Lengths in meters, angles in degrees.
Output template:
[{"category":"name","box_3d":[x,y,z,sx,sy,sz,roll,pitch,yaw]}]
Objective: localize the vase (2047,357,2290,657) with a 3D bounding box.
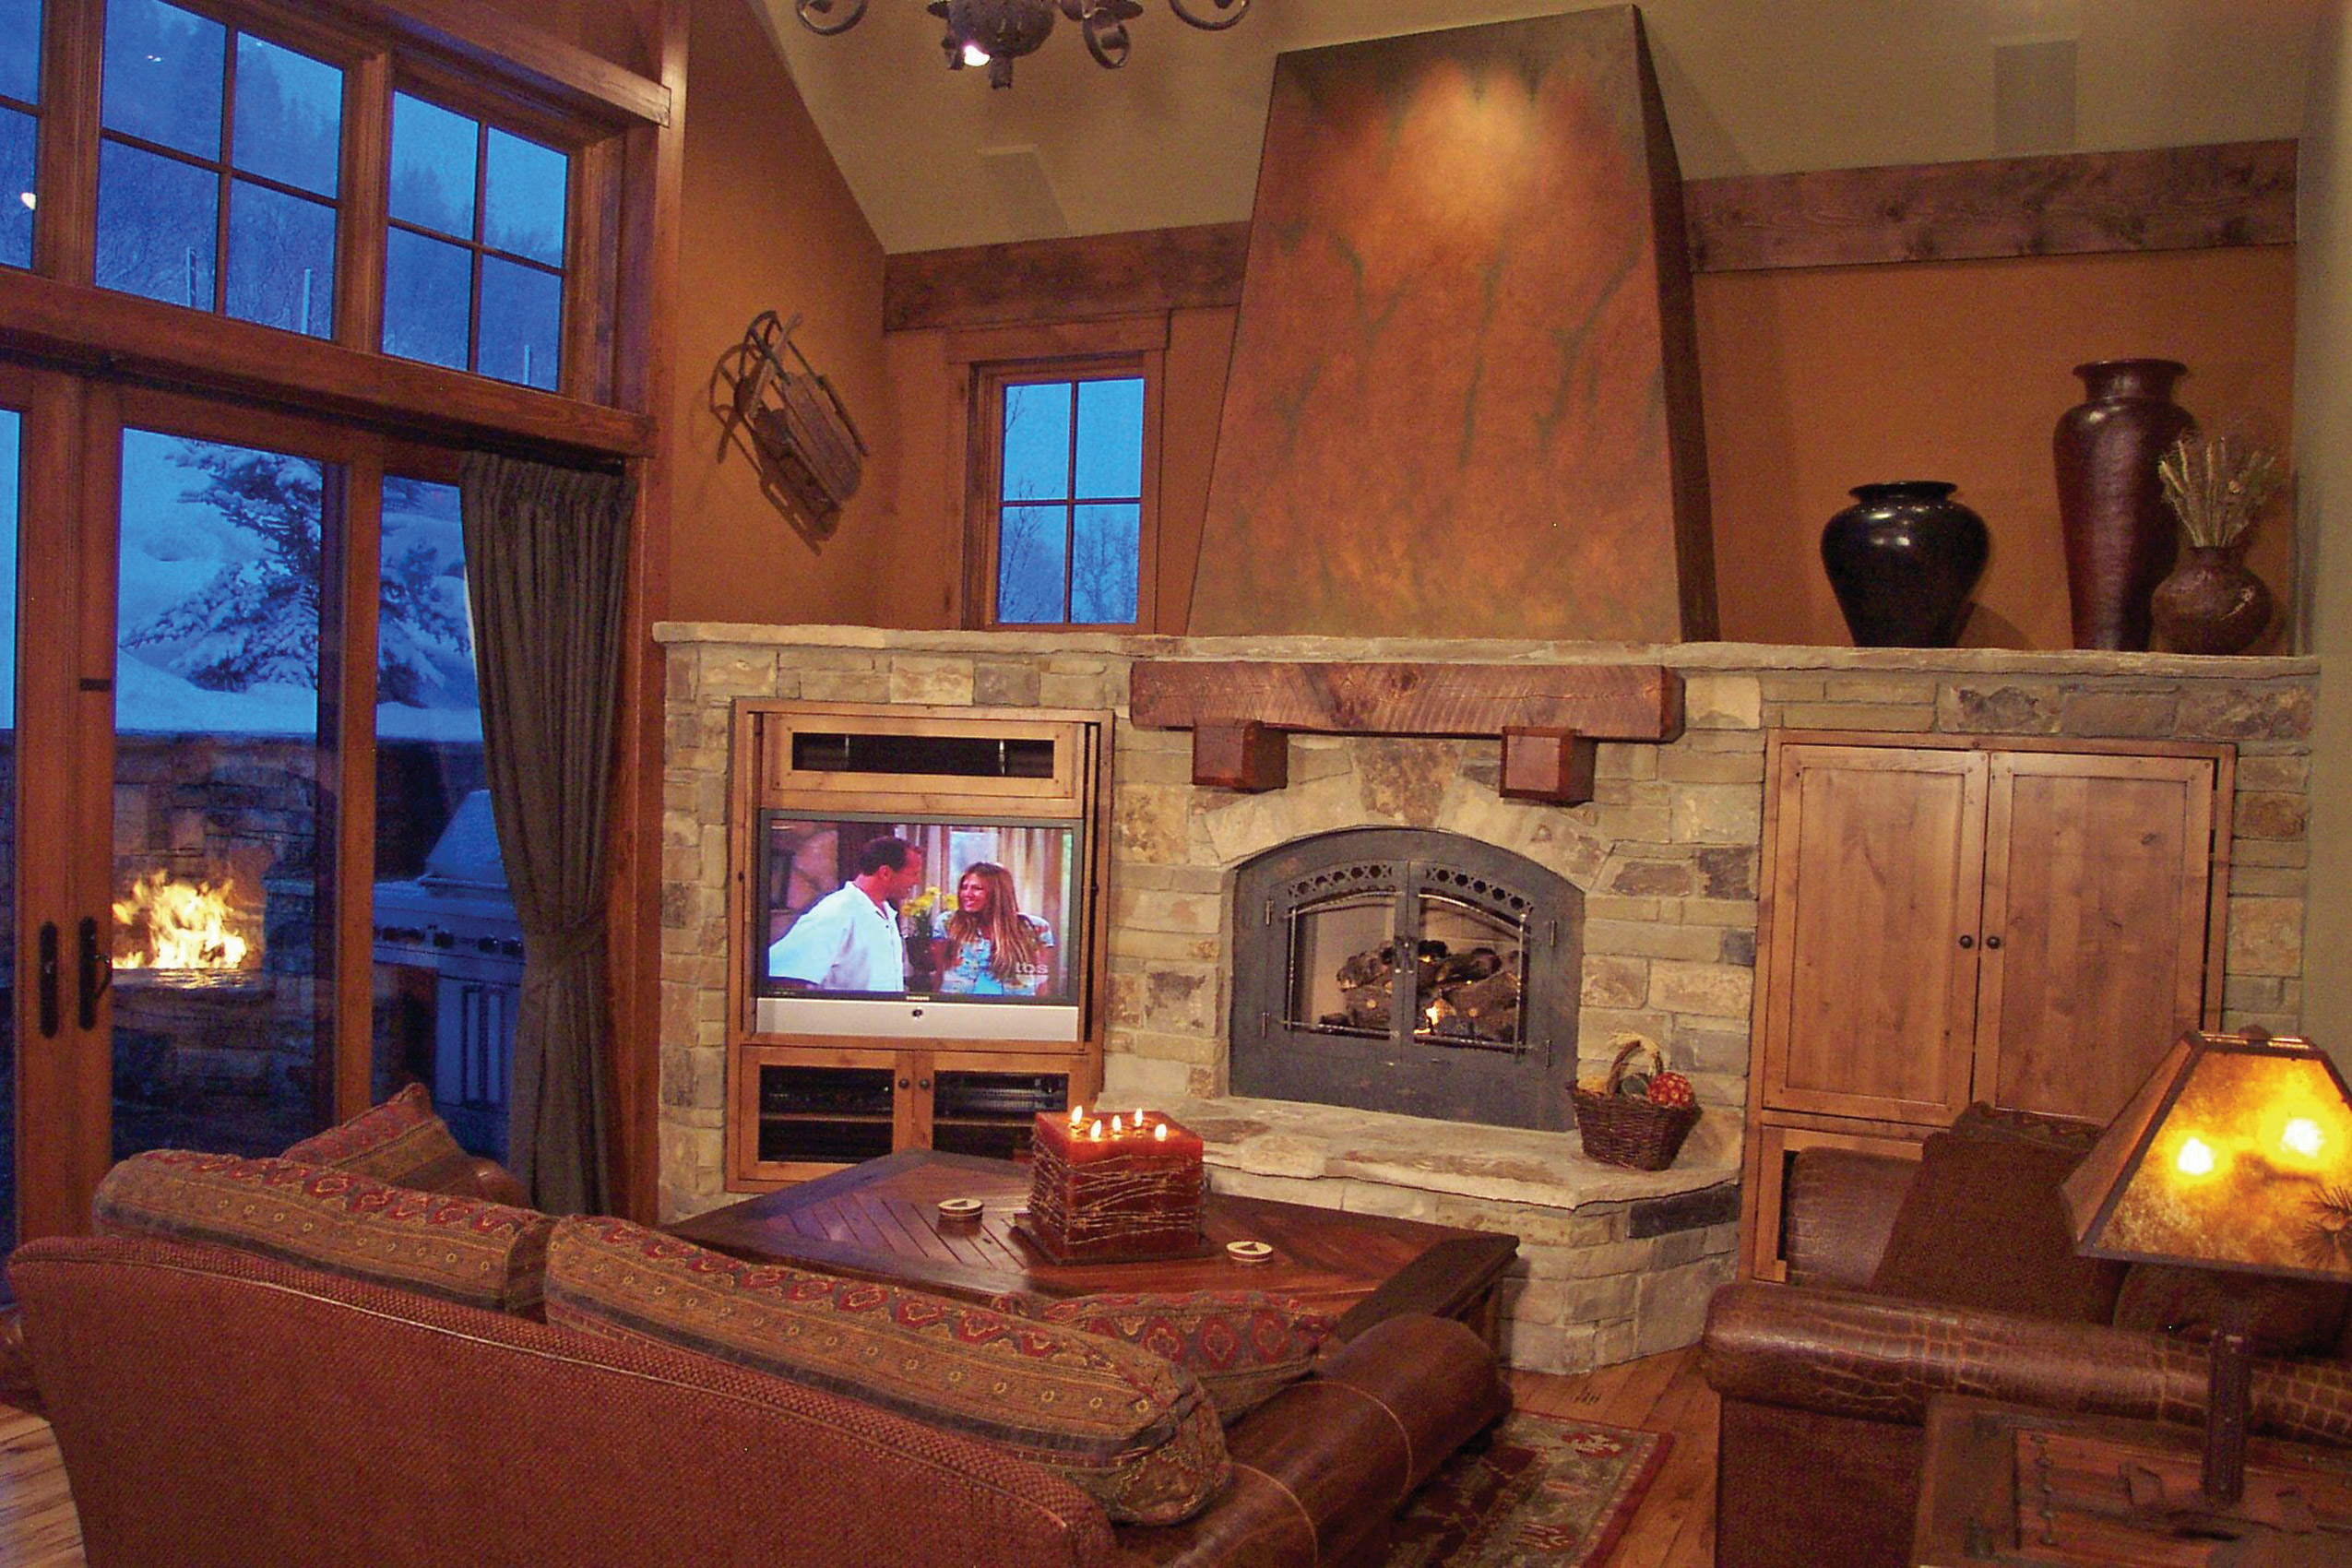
[{"category":"vase","box_3d":[3.295,-0.946,6.017,0.334,1.049,0.639,1,-1,-27]}]

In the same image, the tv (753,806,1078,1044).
[{"category":"tv","box_3d":[-0.917,0.502,6.601,0.900,0.592,0.036,0,0,2]}]

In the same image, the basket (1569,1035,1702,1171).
[{"category":"basket","box_3d":[1.501,1.082,6.098,0.465,0.441,0.371,1,-5,23]}]

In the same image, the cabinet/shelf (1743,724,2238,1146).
[{"category":"cabinet/shelf","box_3d":[2.619,0.450,5.663,1.395,1.282,0.497,2,0,17]}]

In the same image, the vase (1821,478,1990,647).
[{"category":"vase","box_3d":[2.485,-0.729,6.303,0.578,0.628,0.588,-1,1,43]}]

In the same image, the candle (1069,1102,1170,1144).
[{"category":"candle","box_3d":[-0.168,0.939,4.983,0.305,0.078,0.286,0,-1,-4]}]
